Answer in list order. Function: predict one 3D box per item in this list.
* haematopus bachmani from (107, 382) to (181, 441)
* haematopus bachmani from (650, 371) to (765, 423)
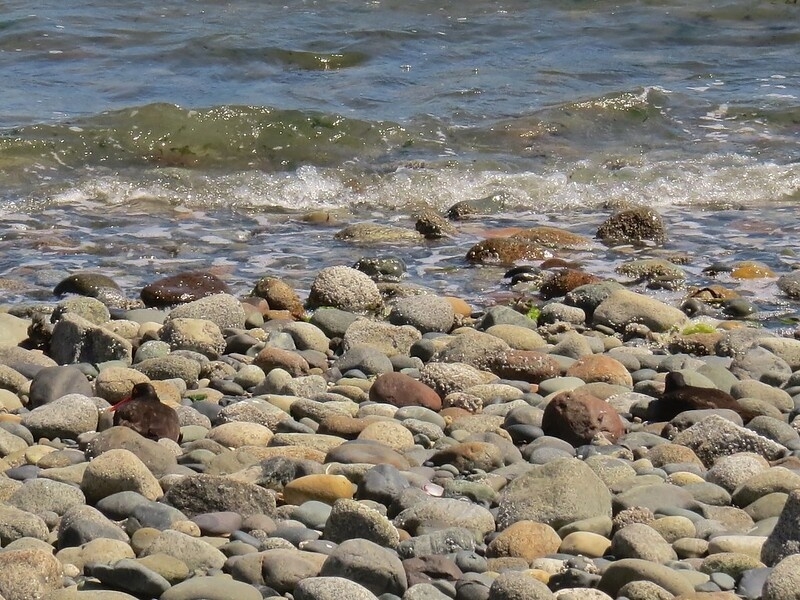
[{"bbox_3d":[-2.268,0.983,12.667,0.501,0.393,0.695,-7,32,-37],"label":"haematopus bachmani"},{"bbox_3d":[2.842,0.898,13.034,1.034,0.442,0.612,2,4,43],"label":"haematopus bachmani"}]
